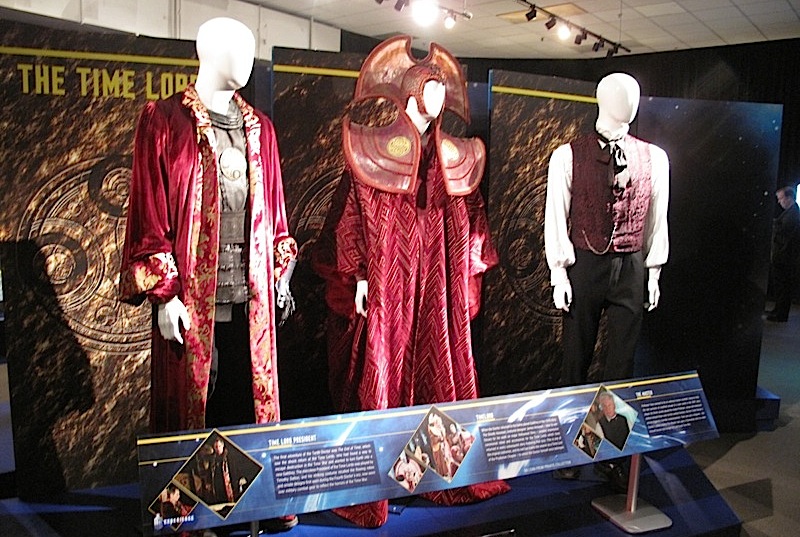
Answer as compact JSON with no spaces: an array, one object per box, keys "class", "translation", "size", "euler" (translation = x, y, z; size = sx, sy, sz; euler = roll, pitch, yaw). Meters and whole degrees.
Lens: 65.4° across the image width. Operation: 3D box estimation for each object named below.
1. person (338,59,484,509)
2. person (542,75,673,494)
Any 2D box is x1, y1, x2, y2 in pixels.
[{"class":"person","translation":[0.073,-0.201,3.470],"size":[0.930,1.946,0.278],"euler":[-4,8,-18]},{"class":"person","translation":[1.277,-0.225,3.810],"size":[0.784,1.866,0.221],"euler":[-3,8,-17]}]
